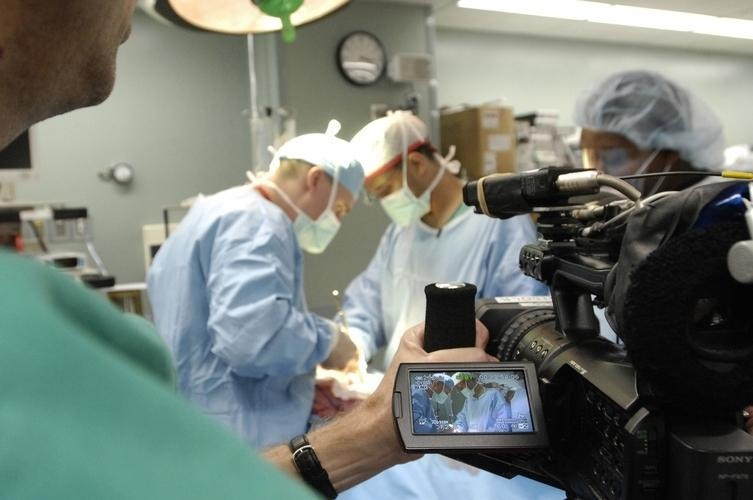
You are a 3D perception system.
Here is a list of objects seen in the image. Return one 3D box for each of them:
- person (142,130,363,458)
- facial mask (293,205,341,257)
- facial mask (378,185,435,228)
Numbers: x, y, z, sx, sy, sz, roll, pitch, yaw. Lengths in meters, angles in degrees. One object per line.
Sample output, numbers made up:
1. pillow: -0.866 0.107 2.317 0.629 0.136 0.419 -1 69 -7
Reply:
1. person: -0.416 0.088 2.547 0.798 1.418 0.853 -4 6 -27
2. facial mask: -0.216 -0.060 2.368 0.138 0.094 0.129 38 15 12
3. facial mask: 0.117 -0.166 2.638 0.159 0.100 0.137 -42 12 -10
